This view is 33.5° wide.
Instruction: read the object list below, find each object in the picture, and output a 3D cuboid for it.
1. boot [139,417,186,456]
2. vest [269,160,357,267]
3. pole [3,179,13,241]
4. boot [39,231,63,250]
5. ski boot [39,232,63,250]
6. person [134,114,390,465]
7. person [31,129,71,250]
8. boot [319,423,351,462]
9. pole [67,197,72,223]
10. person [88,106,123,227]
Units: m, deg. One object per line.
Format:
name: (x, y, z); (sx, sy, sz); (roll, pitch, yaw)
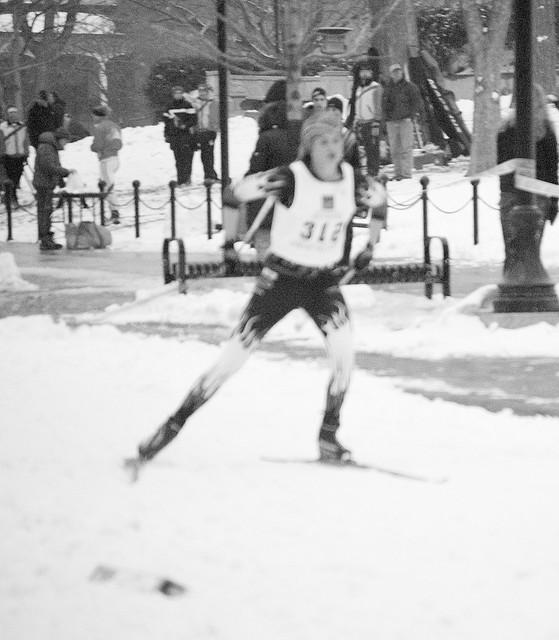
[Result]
boot: (-0.479, 0.488, 3.825); (0.073, 0.218, 0.068); (37, 13, -48)
vest: (0.114, -0.389, 3.429); (0.267, 0.428, 0.198); (6, 10, -25)
pole: (-3.246, -1.304, 11.135); (0.100, 0.718, 1.031); (-2, 10, -16)
boot: (-2.664, -0.913, 10.760); (0.229, 0.204, 0.121); (-2, -14, -13)
ski boot: (-2.685, -0.910, 10.843); (0.100, 0.178, 0.231); (-12, 10, 2)
person: (-0.007, -0.074, 3.518); (0.830, 1.381, 0.309); (0, 8, -2)
person: (-2.577, -1.452, 10.508); (0.397, 1.353, 0.684); (-2, 9, -17)
boot: (0.219, 0.492, 3.726); (0.122, 0.173, 0.078); (1, 8, 3)
pole: (-2.524, -1.319, 11.172); (0.053, 0.289, 0.397); (-2, 9, -13)
person: (-2.050, -1.742, 10.905); (0.361, 1.411, 1.645); (-1, 9, -11)
